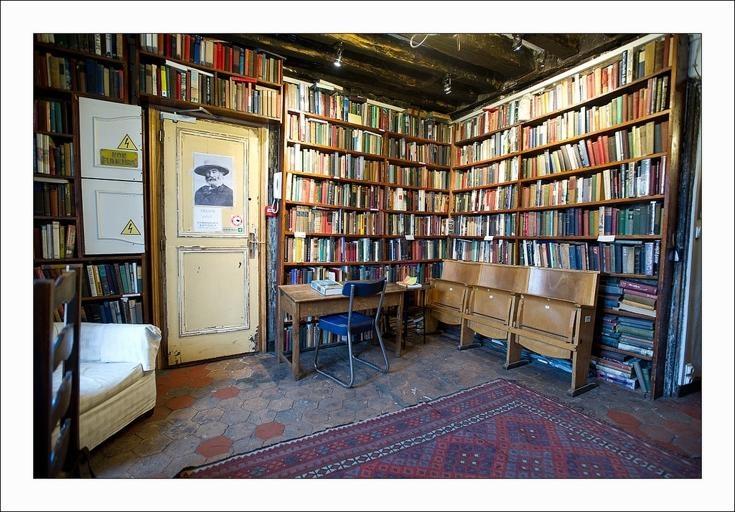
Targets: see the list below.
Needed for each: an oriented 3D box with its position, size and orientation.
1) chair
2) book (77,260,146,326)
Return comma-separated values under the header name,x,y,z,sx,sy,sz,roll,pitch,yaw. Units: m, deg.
name,x,y,z,sx,sy,sz,roll,pitch,yaw
chair,-2.024,0.966,3.863,0.881,0.614,0.870,2,-3,-41
book,-2.277,0.316,4.261,0.633,0.561,0.194,-1,2,-32
